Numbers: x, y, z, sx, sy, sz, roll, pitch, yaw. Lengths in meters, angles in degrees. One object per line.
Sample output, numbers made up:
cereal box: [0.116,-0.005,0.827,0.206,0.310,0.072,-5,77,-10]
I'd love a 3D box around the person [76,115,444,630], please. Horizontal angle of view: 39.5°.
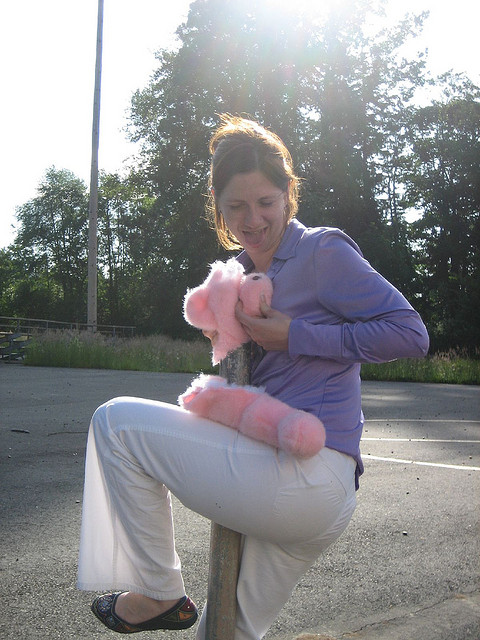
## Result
person: [0.119,0.278,2.426,1.057,1.326,0.962,3,1,15]

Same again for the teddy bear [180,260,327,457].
teddy bear: [0.015,0.109,2.127,0.367,0.599,0.547,-8,17,-29]
